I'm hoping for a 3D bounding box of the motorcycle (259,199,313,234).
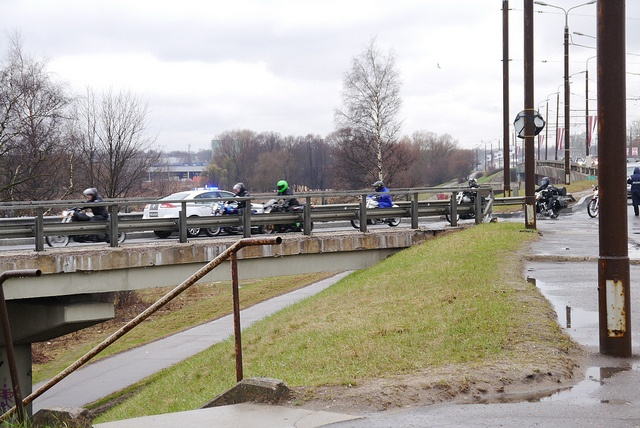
[{"bbox_3d":[-1.190,0.088,36.755,2.508,1.659,0.996,1,0,-28],"label":"motorcycle"}]

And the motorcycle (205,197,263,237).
[{"bbox_3d":[-2.827,0.125,38.536,2.194,1.238,1.051,-7,6,-38],"label":"motorcycle"}]

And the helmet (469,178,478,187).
[{"bbox_3d":[5.871,-1.175,41.002,0.218,0.247,0.415,-1,1,-24],"label":"helmet"}]

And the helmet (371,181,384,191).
[{"bbox_3d":[2.060,-0.978,38.427,0.401,0.408,0.328,4,6,6],"label":"helmet"}]

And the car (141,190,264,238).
[{"bbox_3d":[-4.620,0.236,39.241,4.246,1.550,1.894,-8,6,-41],"label":"car"}]

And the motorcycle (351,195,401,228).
[{"bbox_3d":[1.967,-0.054,38.627,1.934,1.147,0.932,4,-7,-34],"label":"motorcycle"}]

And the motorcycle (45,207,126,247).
[{"bbox_3d":[-7.530,0.471,35.511,3.002,1.627,1.332,1,-1,-17],"label":"motorcycle"}]

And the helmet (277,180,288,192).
[{"bbox_3d":[-1.369,-0.937,37.121,0.394,0.375,0.320,5,7,24],"label":"helmet"}]

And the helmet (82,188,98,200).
[{"bbox_3d":[-7.611,-0.650,35.718,0.526,0.527,0.437,1,1,-27],"label":"helmet"}]

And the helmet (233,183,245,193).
[{"bbox_3d":[-2.787,-0.892,36.965,0.352,0.291,0.292,0,-2,-23],"label":"helmet"}]
